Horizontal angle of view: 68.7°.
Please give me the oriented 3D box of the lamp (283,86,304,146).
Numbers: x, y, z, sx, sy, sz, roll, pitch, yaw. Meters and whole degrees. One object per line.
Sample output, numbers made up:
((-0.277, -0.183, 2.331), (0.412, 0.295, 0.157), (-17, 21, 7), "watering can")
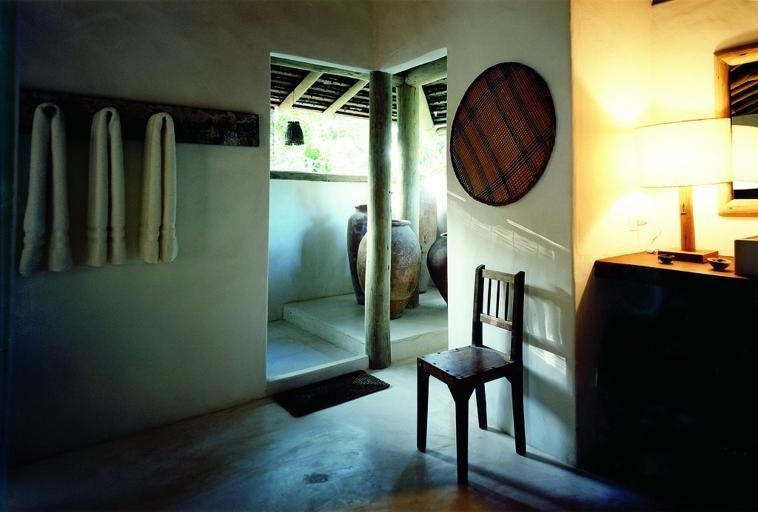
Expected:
((-1.089, -1.726, 7.059), (0.205, 0.614, 0.987), (-2, 9, -9), "lamp")

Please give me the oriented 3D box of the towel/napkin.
((-1.779, -0.425, 3.554), (0.928, 1.058, 0.250), (-4, 8, -23), "towel/napkin")

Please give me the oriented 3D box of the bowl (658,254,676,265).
((1.780, 0.019, 3.441), (0.060, 0.030, 0.073), (-3, 8, -24), "bowl")

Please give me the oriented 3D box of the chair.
((0.627, 0.716, 3.640), (0.720, 1.240, 0.512), (-5, 9, -31), "chair")

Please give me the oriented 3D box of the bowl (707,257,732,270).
((1.999, 0.046, 3.245), (0.097, 0.039, 0.093), (-5, 17, 1), "bowl")
